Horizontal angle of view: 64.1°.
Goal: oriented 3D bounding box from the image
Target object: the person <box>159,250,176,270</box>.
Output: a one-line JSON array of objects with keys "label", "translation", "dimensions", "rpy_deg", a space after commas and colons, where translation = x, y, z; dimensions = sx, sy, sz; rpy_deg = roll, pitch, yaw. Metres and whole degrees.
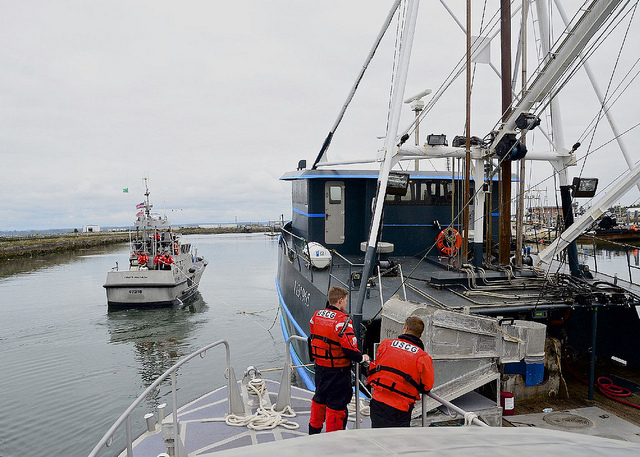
[{"label": "person", "translation": [-7.611, 1.548, 25.213], "dimensions": [0.895, 1.499, 0.430], "rpy_deg": [1, -3, -26]}]

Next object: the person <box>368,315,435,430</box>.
[{"label": "person", "translation": [1.205, 2.155, 7.622], "dimensions": [0.934, 1.654, 0.421], "rpy_deg": [0, 6, 7]}]

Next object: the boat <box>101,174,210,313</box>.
[{"label": "boat", "translation": [-8.146, 1.114, 25.480], "dimensions": [3.254, 5.771, 4.942], "rpy_deg": [1, 6, 19]}]

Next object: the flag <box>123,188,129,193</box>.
[{"label": "flag", "translation": [-9.577, -1.902, 25.062], "dimensions": [0.187, 0.180, 3.740], "rpy_deg": [-3, 6, -20]}]

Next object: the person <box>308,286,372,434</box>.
[{"label": "person", "translation": [0.260, 2.142, 8.192], "dimensions": [0.881, 2.365, 0.515], "rpy_deg": [0, 6, 8]}]
